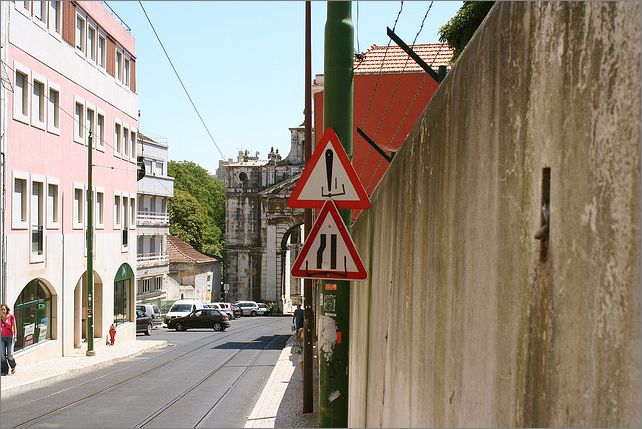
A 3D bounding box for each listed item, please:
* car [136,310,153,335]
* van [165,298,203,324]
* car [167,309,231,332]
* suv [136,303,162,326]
[{"bbox_3d":[-10.036,6.228,56.277,0.829,1.219,1.885,2,-3,-10],"label":"car"},{"bbox_3d":[-8.711,6.019,62.411,1.269,1.306,2.527,-2,-9,3],"label":"van"},{"bbox_3d":[-7.050,6.321,58.686,3.047,1.178,1.459,1,-6,15],"label":"car"},{"bbox_3d":[-10.408,6.044,59.948,0.930,0.994,1.813,-1,1,4],"label":"suv"}]
